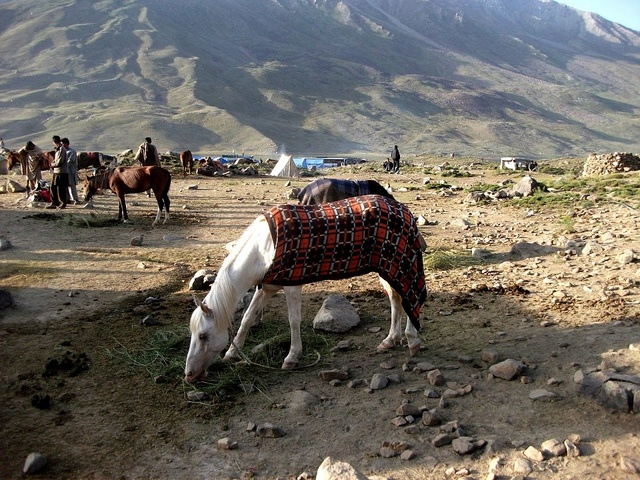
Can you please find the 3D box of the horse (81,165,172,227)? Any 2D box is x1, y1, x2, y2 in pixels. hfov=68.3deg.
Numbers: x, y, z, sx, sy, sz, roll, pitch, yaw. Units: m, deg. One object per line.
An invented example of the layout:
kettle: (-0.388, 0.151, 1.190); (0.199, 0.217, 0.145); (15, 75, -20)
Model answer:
horse: (-5.903, -1.494, 15.116); (3.052, 1.742, 1.433); (9, 18, 39)

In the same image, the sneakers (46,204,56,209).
sneakers: (-8.939, -1.134, 15.959); (0.324, 0.106, 0.363); (0, 4, -23)
